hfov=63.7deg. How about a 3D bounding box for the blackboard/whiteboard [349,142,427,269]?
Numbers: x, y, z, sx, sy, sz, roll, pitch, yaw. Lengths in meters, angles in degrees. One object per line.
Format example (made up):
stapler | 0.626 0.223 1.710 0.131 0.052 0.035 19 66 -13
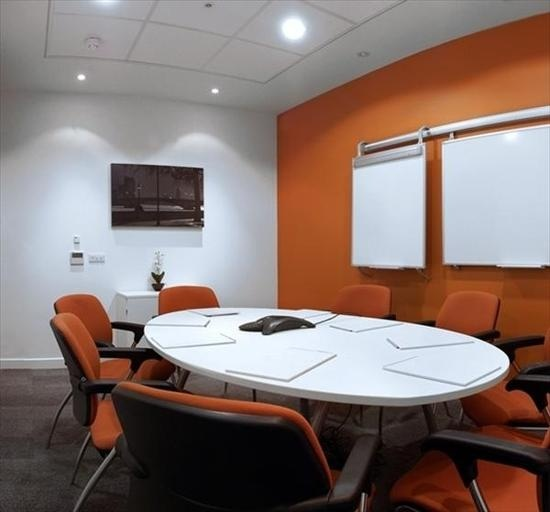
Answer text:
blackboard/whiteboard | 1.021 -0.430 4.076 0.076 1.076 0.837 -3 4 -37
